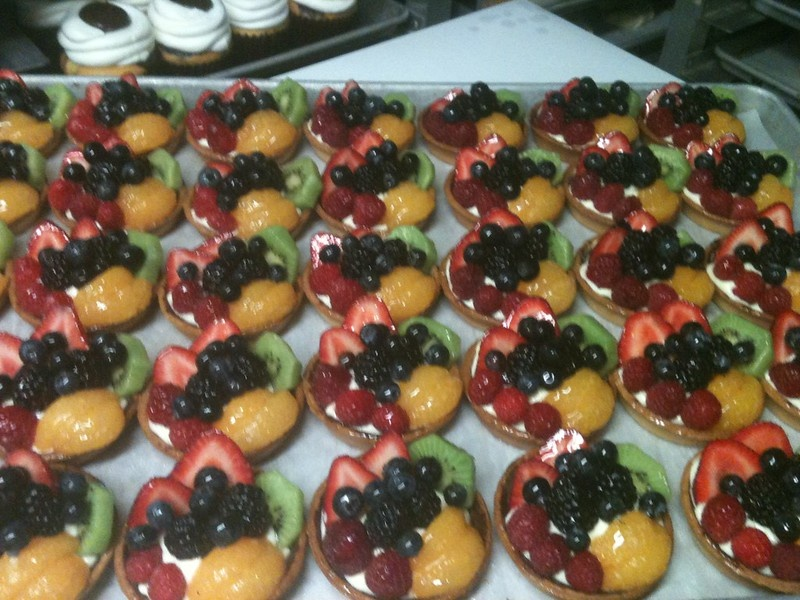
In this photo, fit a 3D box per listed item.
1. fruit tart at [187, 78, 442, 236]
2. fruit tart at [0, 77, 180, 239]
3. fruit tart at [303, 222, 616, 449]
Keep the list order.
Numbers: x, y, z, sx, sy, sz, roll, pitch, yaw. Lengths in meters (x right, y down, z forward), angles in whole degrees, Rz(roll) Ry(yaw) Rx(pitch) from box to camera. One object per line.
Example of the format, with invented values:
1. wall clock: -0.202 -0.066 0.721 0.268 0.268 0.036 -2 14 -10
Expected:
1. fruit tart: -0.277 -0.517 3.425 0.790 0.297 0.739 -20 61 -13
2. fruit tart: -1.280 -0.543 3.451 0.666 0.221 0.733 -3 59 -5
3. fruit tart: 0.302 0.202 2.877 0.849 0.305 0.854 -14 66 0
